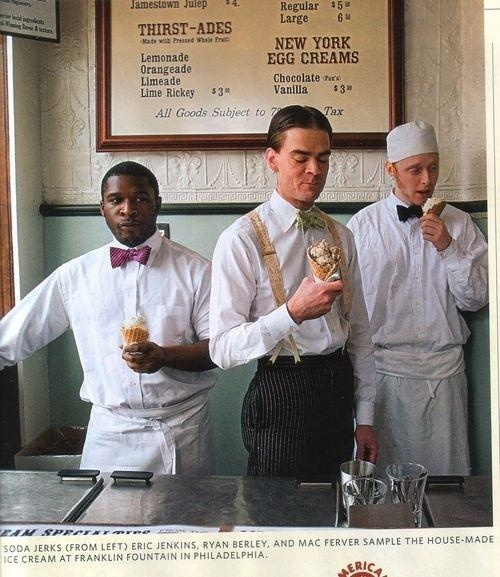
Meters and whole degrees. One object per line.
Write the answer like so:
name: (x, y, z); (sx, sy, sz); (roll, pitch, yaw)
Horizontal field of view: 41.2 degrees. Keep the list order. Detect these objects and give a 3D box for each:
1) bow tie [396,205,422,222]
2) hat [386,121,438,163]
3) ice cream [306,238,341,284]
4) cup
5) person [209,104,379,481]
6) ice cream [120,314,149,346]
bow tie: (0.653, -0.311, 2.727); (0.113, 0.056, 0.026); (-3, 1, -4)
hat: (0.623, -0.570, 2.647); (0.180, 0.125, 0.186); (-23, 11, -38)
ice cream: (0.218, -0.086, 2.021); (0.131, 0.117, 0.134); (-4, 24, -8)
cup: (0.344, 0.499, 1.634); (0.250, 0.131, 0.139); (1, 0, -1)
person: (0.189, 0.021, 2.099); (0.597, 1.159, 0.454); (-5, 6, -44)
ice cream: (-0.375, 0.139, 2.215); (0.110, 0.089, 0.095); (-2, 5, -30)
